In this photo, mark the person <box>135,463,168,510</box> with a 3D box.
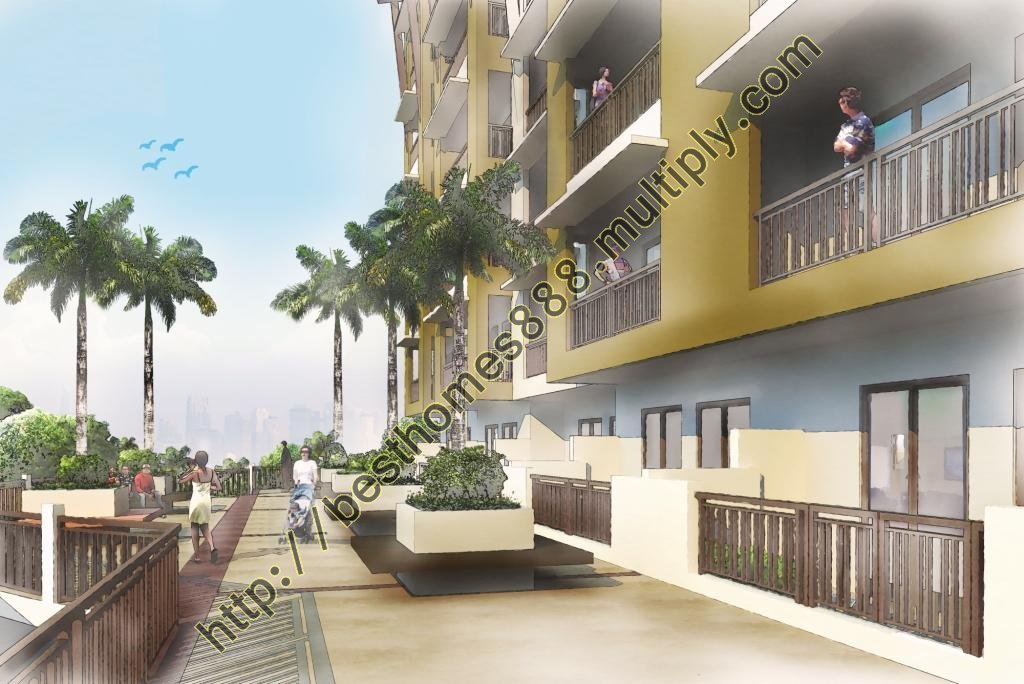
[{"bbox_3d":[-13.369,5.377,29.151,1.138,1.643,0.824,0,-10,-38],"label":"person"}]

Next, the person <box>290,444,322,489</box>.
[{"bbox_3d":[-5.500,3.334,21.346,0.610,1.401,2.002,-1,2,-14],"label":"person"}]

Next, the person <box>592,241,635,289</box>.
[{"bbox_3d":[2.899,-2.206,22.772,0.830,1.215,1.812,0,2,2],"label":"person"}]
